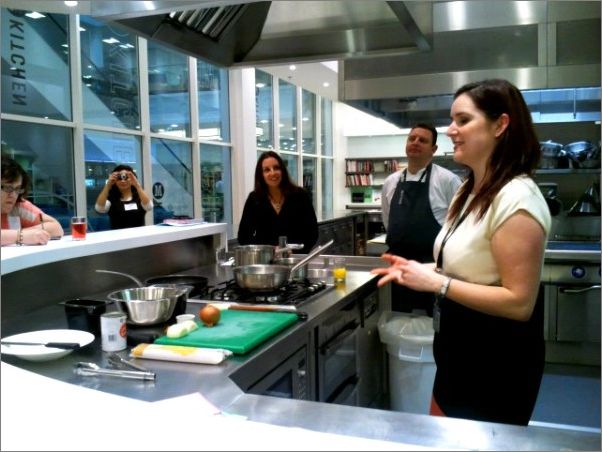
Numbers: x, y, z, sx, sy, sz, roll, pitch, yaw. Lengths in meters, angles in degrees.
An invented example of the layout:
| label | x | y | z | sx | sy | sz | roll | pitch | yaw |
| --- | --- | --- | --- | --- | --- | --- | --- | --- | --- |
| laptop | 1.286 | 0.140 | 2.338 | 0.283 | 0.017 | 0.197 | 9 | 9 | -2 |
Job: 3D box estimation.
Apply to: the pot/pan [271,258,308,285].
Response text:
| label | x | y | z | sx | sy | sz | roll | pitch | yaw |
| --- | --- | --- | --- | --- | --- | --- | --- | --- | --- |
| pot/pan | -0.054 | 0.242 | 2.564 | 0.144 | 0.094 | 0.136 | -1 | -4 | 7 |

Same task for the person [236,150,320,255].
| label | x | y | z | sx | sy | sz | roll | pitch | yaw |
| --- | --- | --- | --- | --- | --- | --- | --- | --- | --- |
| person | -0.201 | -0.188 | 3.688 | 0.628 | 0.800 | 0.340 | -4 | 7 | -8 |

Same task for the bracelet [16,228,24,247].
| label | x | y | z | sx | sy | sz | roll | pitch | yaw |
| --- | --- | --- | --- | --- | --- | --- | --- | --- | --- |
| bracelet | -1.406 | 0.044 | 2.325 | 0.030 | 0.069 | 0.056 | 1 | -3 | -9 |

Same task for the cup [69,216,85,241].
| label | x | y | z | sx | sy | sz | roll | pitch | yaw |
| --- | --- | --- | --- | --- | --- | --- | --- | --- | --- |
| cup | -1.184 | 0.012 | 2.464 | 0.072 | 0.119 | 0.056 | -5 | 7 | -15 |

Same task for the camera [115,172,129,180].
| label | x | y | z | sx | sy | sz | roll | pitch | yaw |
| --- | --- | --- | --- | --- | --- | --- | --- | --- | --- |
| camera | -1.875 | -0.519 | 4.867 | 0.089 | 0.079 | 0.031 | 3 | 8 | -19 |

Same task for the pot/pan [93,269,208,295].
| label | x | y | z | sx | sy | sz | roll | pitch | yaw |
| --- | --- | --- | --- | --- | --- | --- | --- | --- | --- |
| pot/pan | -0.753 | 0.284 | 2.396 | 0.486 | 0.143 | 0.231 | -2 | -3 | -4 |

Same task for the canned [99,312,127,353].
| label | x | y | z | sx | sy | sz | roll | pitch | yaw |
| --- | --- | --- | --- | --- | --- | --- | --- | --- | --- |
| canned | -0.677 | 0.389 | 1.702 | 0.118 | 0.107 | 0.114 | -5 | -6 | 18 |

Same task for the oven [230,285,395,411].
| label | x | y | z | sx | sy | sz | roll | pitch | yaw |
| --- | --- | --- | --- | --- | --- | --- | --- | --- | --- |
| oven | 0.041 | 0.525 | 2.060 | 0.514 | 0.546 | 0.910 | -1 | 3 | 17 |

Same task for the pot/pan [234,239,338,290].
| label | x | y | z | sx | sy | sz | roll | pitch | yaw |
| --- | --- | --- | --- | --- | --- | --- | --- | --- | --- |
| pot/pan | -0.088 | 0.183 | 2.238 | 0.494 | 0.161 | 0.231 | -3 | -1 | 26 |

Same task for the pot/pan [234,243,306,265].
| label | x | y | z | sx | sy | sz | roll | pitch | yaw |
| --- | --- | --- | --- | --- | --- | --- | --- | --- | --- |
| pot/pan | -0.222 | 0.152 | 2.618 | 0.249 | 0.083 | 0.159 | -1 | -2 | 8 |

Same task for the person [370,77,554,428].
| label | x | y | z | sx | sy | sz | roll | pitch | yaw |
| --- | --- | --- | --- | --- | --- | --- | --- | --- | --- |
| person | 0.609 | 0.127 | 1.673 | 0.497 | 1.265 | 0.337 | 1 | 8 | 26 |
